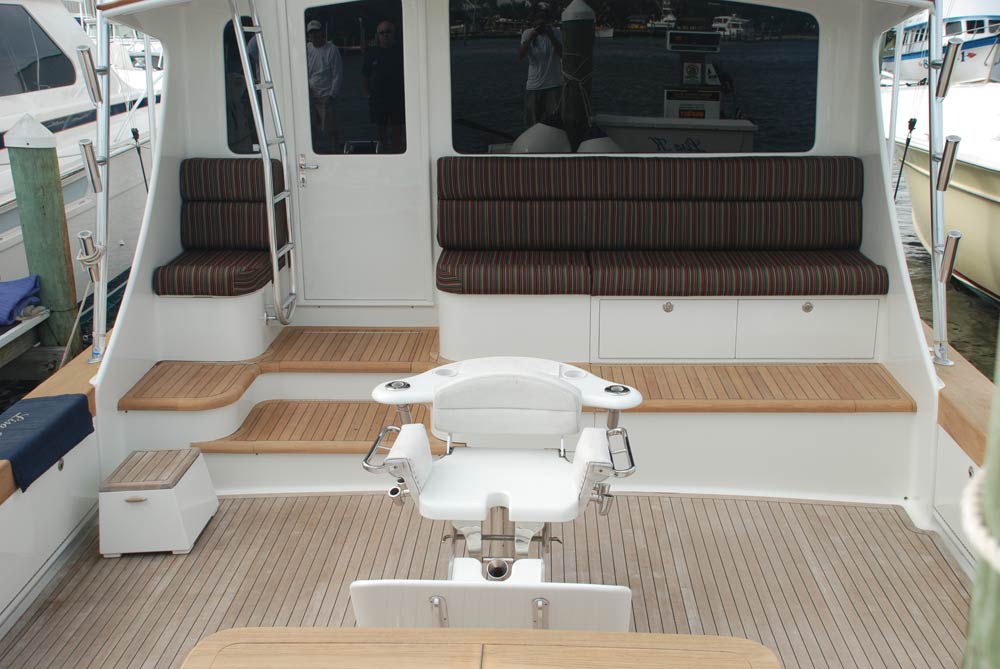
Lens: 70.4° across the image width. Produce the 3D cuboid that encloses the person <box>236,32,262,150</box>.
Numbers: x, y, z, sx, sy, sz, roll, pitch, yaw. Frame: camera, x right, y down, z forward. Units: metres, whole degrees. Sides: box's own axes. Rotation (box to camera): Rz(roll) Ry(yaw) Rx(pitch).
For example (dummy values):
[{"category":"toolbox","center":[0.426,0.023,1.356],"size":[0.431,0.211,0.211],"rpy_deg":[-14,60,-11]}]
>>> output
[{"category":"person","center":[-1.687,-1.642,4.843],"size":[0.150,0.788,0.362],"rpy_deg":[-10,23,-22]}]

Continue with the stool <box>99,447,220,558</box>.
[{"category":"stool","center":[-1.875,0.876,3.990],"size":[0.486,0.407,0.662],"rpy_deg":[-1,18,2]}]

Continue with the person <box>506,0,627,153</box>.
[{"category":"person","center":[0.489,-1.817,5.131],"size":[0.641,0.954,0.895],"rpy_deg":[23,34,39]}]

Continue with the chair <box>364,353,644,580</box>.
[{"category":"chair","center":[0.041,0.594,3.268],"size":[1.246,0.677,1.180],"rpy_deg":[-1,23,2]}]

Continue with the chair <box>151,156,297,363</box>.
[{"category":"chair","center":[-1.846,-0.534,4.792],"size":[0.738,1.167,0.852],"rpy_deg":[-1,21,0]}]
